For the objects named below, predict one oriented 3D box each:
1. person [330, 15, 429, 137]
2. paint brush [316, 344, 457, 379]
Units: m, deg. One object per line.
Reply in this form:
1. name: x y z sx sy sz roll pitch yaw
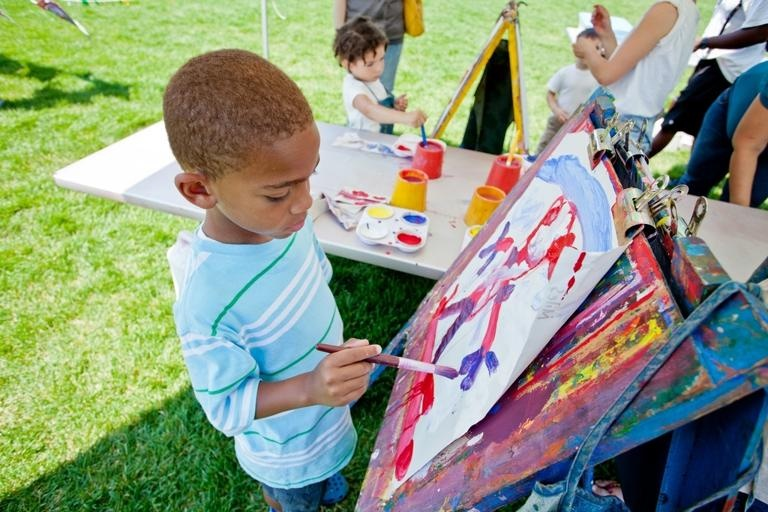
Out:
1. person: 0.018 -1.150 4.378 0.566 1.004 0.595 -13 32 -31
2. paint brush: 0.013 0.443 2.570 0.642 0.068 0.091 11 49 3
